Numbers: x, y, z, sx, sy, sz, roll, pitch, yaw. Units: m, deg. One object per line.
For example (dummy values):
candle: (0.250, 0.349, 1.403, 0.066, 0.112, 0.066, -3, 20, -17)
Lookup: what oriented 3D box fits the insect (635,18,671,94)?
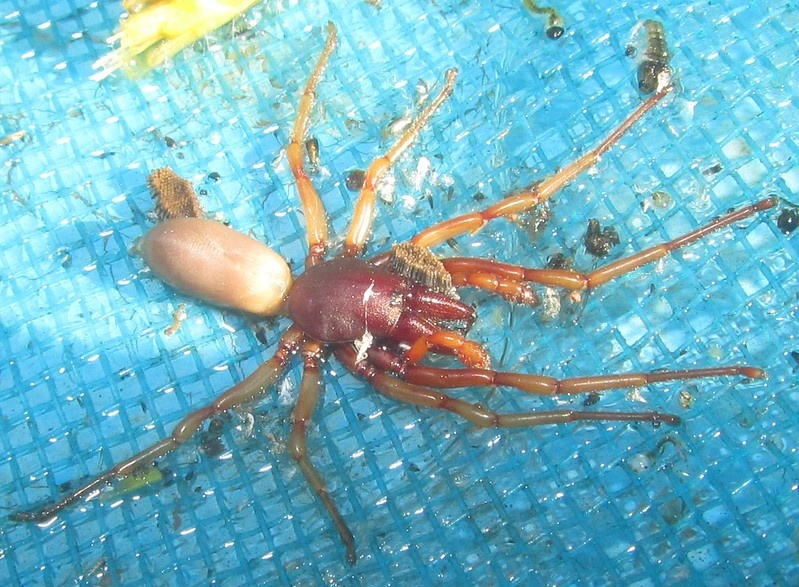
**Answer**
insect: (0.651, -0.605, 2.017, 0.083, 0.052, 0.175, -1, 92, 13)
